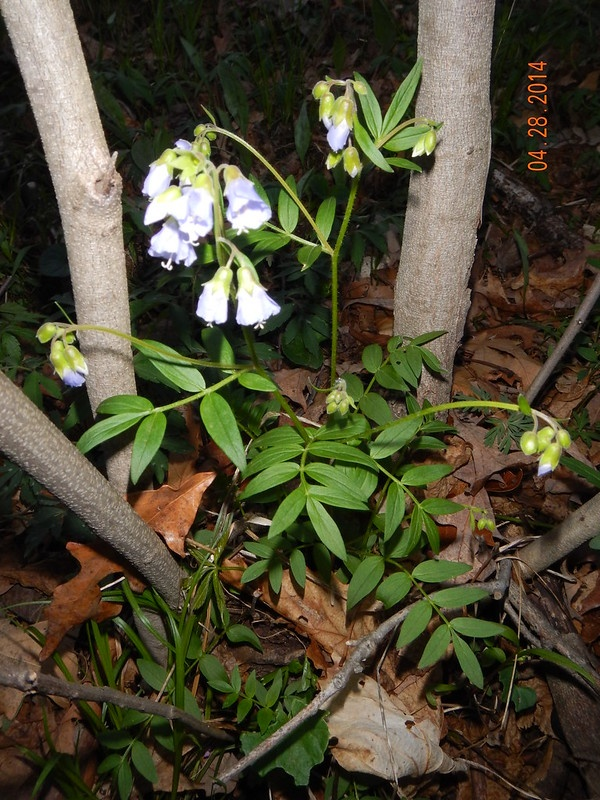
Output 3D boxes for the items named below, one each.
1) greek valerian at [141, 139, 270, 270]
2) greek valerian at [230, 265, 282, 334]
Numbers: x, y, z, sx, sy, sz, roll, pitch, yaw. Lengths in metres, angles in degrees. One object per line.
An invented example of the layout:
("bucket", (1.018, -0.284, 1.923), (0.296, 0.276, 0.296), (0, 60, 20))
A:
("greek valerian", (-0.284, -0.556, 1.897), (0.344, 0.401, 0.292), (-17, 86, -4))
("greek valerian", (-0.121, -0.277, 1.871), (0.136, 0.150, 0.070), (-17, 15, 2))
